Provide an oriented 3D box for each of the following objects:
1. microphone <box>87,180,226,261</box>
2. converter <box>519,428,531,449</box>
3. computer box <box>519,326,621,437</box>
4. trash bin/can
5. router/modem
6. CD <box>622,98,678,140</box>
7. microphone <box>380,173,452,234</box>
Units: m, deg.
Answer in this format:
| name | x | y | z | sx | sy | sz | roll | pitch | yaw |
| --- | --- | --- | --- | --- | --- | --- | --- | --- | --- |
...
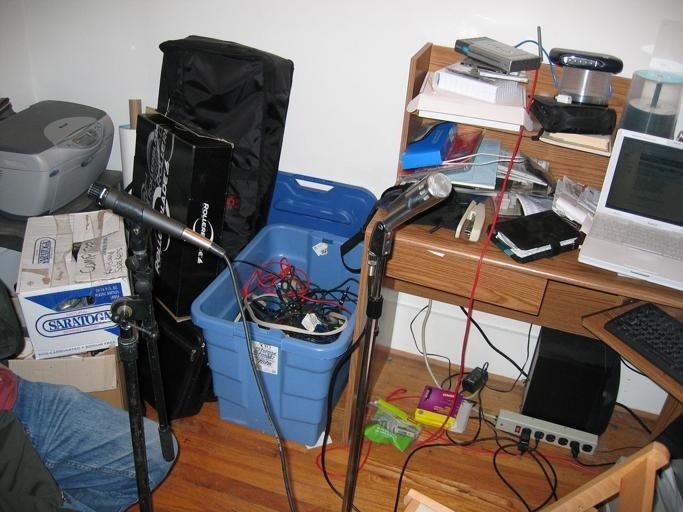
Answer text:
| name | x | y | z | sx | sy | sz | roll | pitch | yaw |
| --- | --- | --- | --- | --- | --- | --- | --- | --- | --- |
| microphone | -0.501 | -0.104 | 1.583 | 0.428 | 0.143 | 0.068 | 11 | 20 | 12 |
| converter | 0.739 | 0.739 | 2.278 | 0.042 | 0.082 | 0.028 | 10 | -12 | -1 |
| computer box | 0.930 | 0.560 | 2.385 | 0.250 | 0.455 | 0.252 | 13 | 27 | 21 |
| trash bin/can | -0.169 | 0.302 | 2.494 | 0.621 | 0.572 | 0.882 | 10 | 35 | 13 |
| router/modem | 0.572 | -0.740 | 2.020 | 0.334 | 0.089 | 0.279 | -22 | 39 | -40 |
| CD | 1.108 | -0.491 | 2.034 | 0.166 | 0.107 | 0.172 | 7 | 32 | 17 |
| microphone | 0.207 | -0.189 | 1.560 | 0.200 | 0.151 | 0.212 | 7 | 37 | 13 |
